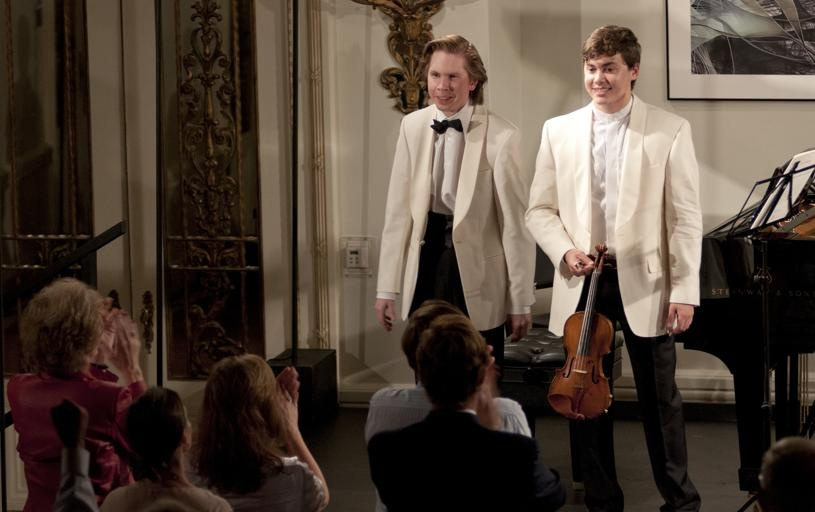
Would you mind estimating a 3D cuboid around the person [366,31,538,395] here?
[{"bbox_3d":[0.246,0.008,4.233,0.813,2.219,0.554,3,13,18],"label":"person"}]

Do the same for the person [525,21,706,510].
[{"bbox_3d":[1.104,0.077,4.401,0.930,2.533,0.861,0,2,7],"label":"person"}]
